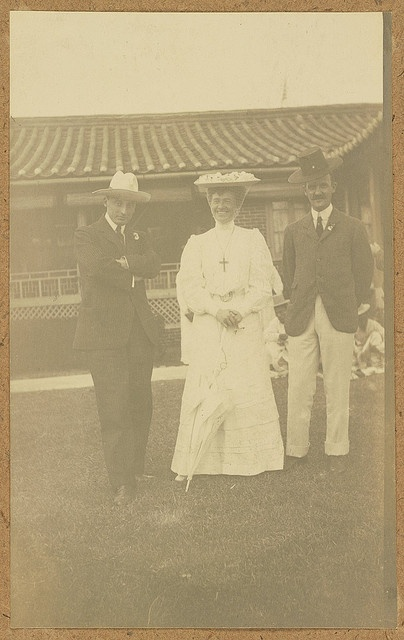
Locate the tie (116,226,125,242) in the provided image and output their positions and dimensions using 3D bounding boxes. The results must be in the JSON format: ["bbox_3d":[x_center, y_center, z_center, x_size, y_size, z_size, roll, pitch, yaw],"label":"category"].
[{"bbox_3d":[-0.440,-0.467,4.330,0.052,0.073,0.019,-5,1,-25],"label":"tie"}]

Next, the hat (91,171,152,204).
[{"bbox_3d":[-0.413,-0.705,4.305,0.190,0.088,0.218,6,-17,-12],"label":"hat"}]
